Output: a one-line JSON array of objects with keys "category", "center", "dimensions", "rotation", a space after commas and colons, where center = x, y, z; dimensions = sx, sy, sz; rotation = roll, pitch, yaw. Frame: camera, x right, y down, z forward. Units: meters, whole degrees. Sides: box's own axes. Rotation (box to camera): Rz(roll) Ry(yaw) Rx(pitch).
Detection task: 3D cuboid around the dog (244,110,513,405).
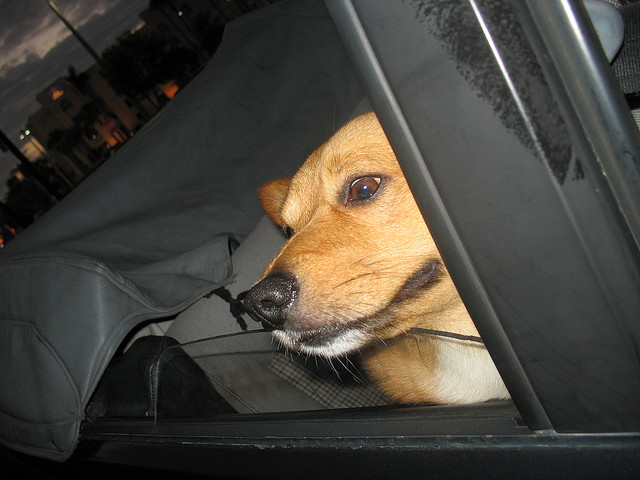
[{"category": "dog", "center": [0.081, 0.084, 1.620], "dimensions": [0.570, 0.571, 0.916], "rotation": [-29, 17, 14]}]
